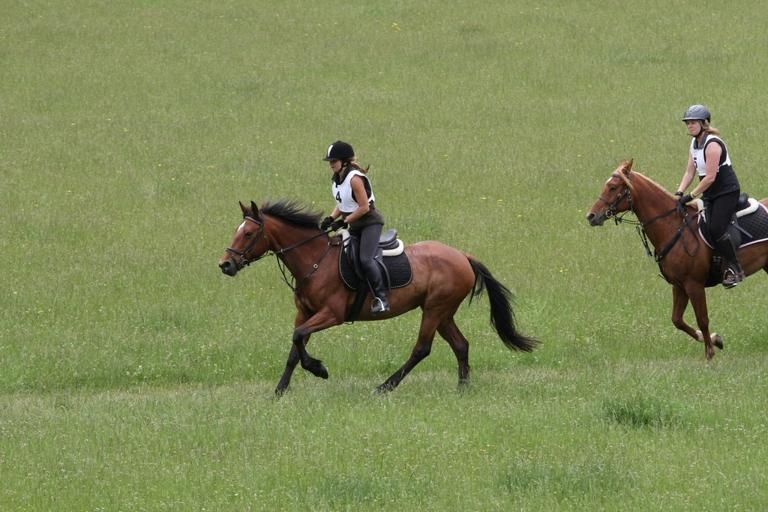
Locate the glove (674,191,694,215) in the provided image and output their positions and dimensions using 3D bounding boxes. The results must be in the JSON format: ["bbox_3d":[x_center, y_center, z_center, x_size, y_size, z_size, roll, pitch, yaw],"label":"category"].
[{"bbox_3d":[10.323,-1.954,50.081,0.505,0.372,0.678,40,63,20],"label":"glove"}]
